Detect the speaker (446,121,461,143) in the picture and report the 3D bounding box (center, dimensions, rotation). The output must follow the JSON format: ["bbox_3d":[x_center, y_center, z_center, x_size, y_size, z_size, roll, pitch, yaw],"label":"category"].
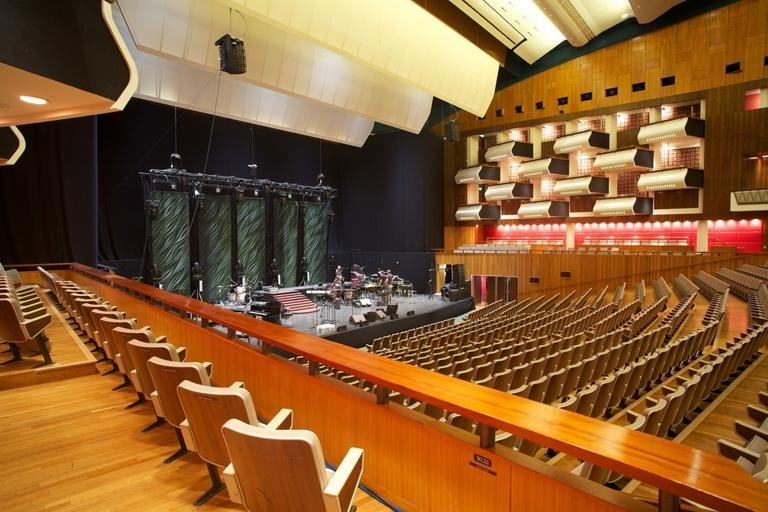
[{"bbox_3d":[2.716,-5.101,19.838,0.504,0.827,0.414,-2,4,-10],"label":"speaker"}]

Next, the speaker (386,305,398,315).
[{"bbox_3d":[0.248,1.682,15.639,0.279,0.399,0.402,15,-13,8],"label":"speaker"}]

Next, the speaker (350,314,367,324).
[{"bbox_3d":[-0.803,1.842,14.355,0.328,0.183,0.325,4,-4,-39],"label":"speaker"}]

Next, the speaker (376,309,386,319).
[{"bbox_3d":[-0.078,1.800,15.220,0.239,0.066,0.241,26,22,40],"label":"speaker"}]

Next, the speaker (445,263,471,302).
[{"bbox_3d":[3.033,1.125,20.352,0.778,1.495,1.545,-3,-3,38],"label":"speaker"}]

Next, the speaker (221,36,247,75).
[{"bbox_3d":[-3.796,-5.066,12.325,0.575,0.896,0.321,-3,4,-22],"label":"speaker"}]
